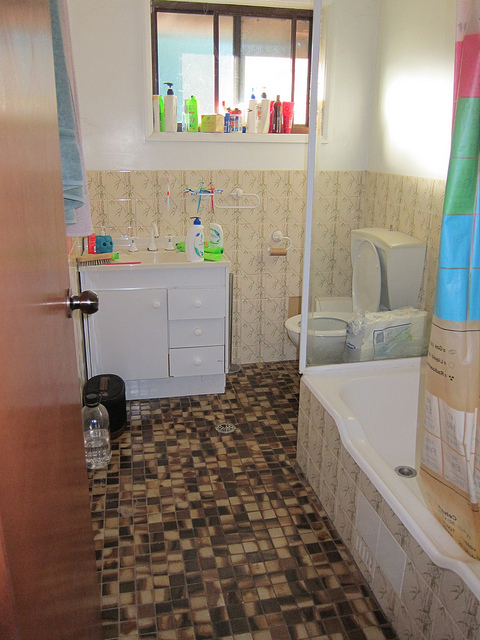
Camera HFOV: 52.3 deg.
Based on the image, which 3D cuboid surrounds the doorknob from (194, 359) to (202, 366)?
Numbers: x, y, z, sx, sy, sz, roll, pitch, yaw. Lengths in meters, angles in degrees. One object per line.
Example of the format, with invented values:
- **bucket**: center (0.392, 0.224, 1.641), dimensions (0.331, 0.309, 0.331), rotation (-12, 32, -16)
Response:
- **doorknob**: center (-0.259, 0.257, 2.971), dimensions (0.038, 0.052, 0.030), rotation (-4, 17, -11)

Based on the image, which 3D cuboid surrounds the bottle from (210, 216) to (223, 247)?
- **bottle**: center (-0.157, -0.521, 3.002), dimensions (0.083, 0.135, 0.081), rotation (-1, 17, 0)

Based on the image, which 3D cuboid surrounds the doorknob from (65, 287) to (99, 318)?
- **doorknob**: center (-0.302, -0.032, 0.927), dimensions (0.075, 0.040, 0.036), rotation (-1, 59, -5)

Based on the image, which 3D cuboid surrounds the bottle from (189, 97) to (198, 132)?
- **bottle**: center (-0.304, -1.326, 3.150), dimensions (0.056, 0.202, 0.026), rotation (-3, 17, -6)

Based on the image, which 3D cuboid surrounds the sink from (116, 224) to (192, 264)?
- **sink**: center (-0.552, -0.479, 3.027), dimensions (0.430, 0.184, 0.517), rotation (-5, 18, -13)

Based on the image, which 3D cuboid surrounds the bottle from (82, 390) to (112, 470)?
- **bottle**: center (-0.713, 0.517, 2.432), dimensions (0.116, 0.383, 0.199), rotation (-6, 18, -14)

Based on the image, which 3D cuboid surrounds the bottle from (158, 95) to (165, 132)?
- **bottle**: center (-0.492, -1.299, 3.080), dimensions (0.022, 0.212, 0.050), rotation (9, 20, 31)

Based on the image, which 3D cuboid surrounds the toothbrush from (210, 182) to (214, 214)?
- **toothbrush**: center (-0.188, -0.829, 3.260), dimensions (0.013, 0.176, 0.009), rotation (-3, 11, -9)

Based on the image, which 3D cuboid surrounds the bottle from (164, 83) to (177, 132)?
- **bottle**: center (-0.441, -1.322, 3.086), dimensions (0.088, 0.252, 0.060), rotation (-6, 18, -17)

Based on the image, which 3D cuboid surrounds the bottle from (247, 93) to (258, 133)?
- **bottle**: center (0.080, -1.367, 3.229), dimensions (0.056, 0.240, 0.075), rotation (5, 18, 18)

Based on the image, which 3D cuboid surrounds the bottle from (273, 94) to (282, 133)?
- **bottle**: center (0.248, -1.360, 3.269), dimensions (0.059, 0.194, 0.032), rotation (1, 17, 6)

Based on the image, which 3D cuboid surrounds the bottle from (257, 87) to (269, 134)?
- **bottle**: center (0.150, -1.346, 3.229), dimensions (0.075, 0.215, 0.069), rotation (-1, 17, 0)

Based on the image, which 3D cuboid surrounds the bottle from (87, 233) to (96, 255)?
- **bottle**: center (-0.887, -0.461, 2.918), dimensions (0.058, 0.120, 0.161), rotation (-6, 18, -16)

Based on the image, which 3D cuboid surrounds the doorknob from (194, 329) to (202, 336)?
- **doorknob**: center (-0.247, 0.072, 2.920), dimensions (0.050, 0.046, 0.027), rotation (-9, 19, -25)

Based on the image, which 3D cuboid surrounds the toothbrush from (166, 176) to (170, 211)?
- **toothbrush**: center (-0.475, -0.831, 3.206), dimensions (0.019, 0.211, 0.031), rotation (6, 18, 21)

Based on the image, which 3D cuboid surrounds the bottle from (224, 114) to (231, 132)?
- **bottle**: center (-0.084, -1.295, 3.210), dimensions (0.043, 0.107, 0.013), rotation (-1, 17, 0)

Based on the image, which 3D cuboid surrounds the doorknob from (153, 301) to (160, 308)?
- **doorknob**: center (-0.484, -0.091, 2.823), dimensions (0.036, 0.040, 0.019), rotation (-7, 18, -19)

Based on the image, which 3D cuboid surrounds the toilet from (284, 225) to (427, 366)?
- **toilet**: center (0.515, -0.049, 2.441), dimensions (0.617, 0.786, 0.393), rotation (-5, 19, -14)
